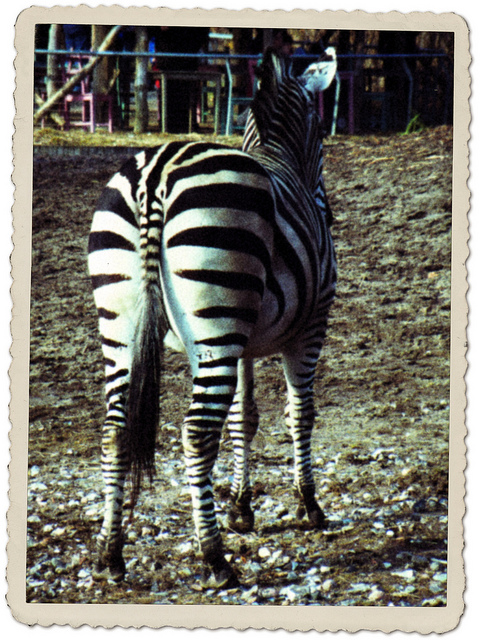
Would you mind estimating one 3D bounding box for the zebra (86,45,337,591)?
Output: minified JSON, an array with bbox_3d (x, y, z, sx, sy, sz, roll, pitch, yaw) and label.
[{"bbox_3d":[0.049,-0.103,8.904,0.827,3.106,2.978,0,3,22],"label":"zebra"}]
